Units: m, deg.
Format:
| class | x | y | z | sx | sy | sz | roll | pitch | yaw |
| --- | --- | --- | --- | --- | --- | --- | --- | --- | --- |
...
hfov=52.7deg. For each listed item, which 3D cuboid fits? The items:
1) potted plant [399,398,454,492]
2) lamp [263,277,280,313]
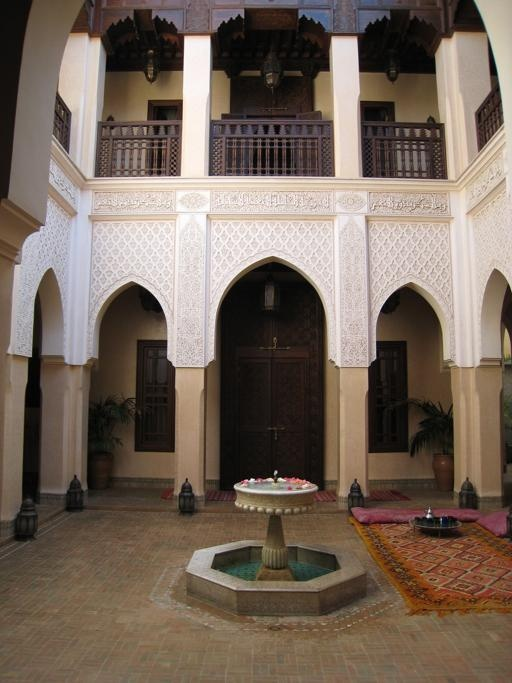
| class | x | y | z | sx | sy | sz | roll | pitch | yaw |
| --- | --- | --- | --- | --- | --- | --- | --- | --- | --- |
| potted plant | 2.547 | 1.401 | 7.257 | 0.788 | 1.306 | 1.120 | 0 | -5 | 1 |
| lamp | 0.211 | -0.664 | 7.242 | 0.226 | 0.402 | 0.240 | 1 | -7 | -4 |
